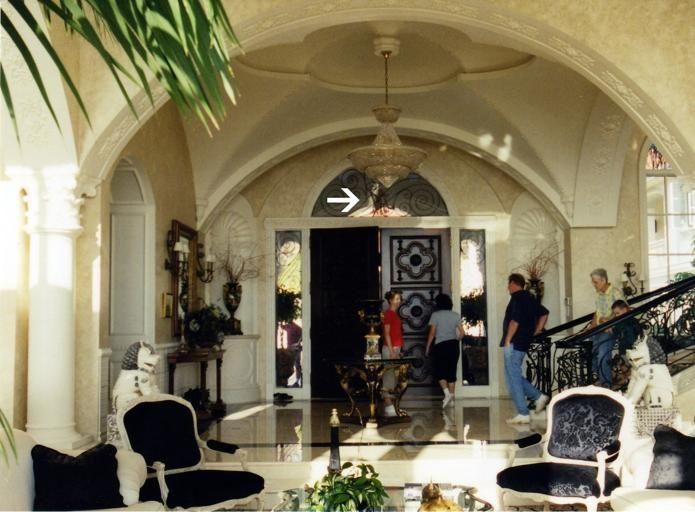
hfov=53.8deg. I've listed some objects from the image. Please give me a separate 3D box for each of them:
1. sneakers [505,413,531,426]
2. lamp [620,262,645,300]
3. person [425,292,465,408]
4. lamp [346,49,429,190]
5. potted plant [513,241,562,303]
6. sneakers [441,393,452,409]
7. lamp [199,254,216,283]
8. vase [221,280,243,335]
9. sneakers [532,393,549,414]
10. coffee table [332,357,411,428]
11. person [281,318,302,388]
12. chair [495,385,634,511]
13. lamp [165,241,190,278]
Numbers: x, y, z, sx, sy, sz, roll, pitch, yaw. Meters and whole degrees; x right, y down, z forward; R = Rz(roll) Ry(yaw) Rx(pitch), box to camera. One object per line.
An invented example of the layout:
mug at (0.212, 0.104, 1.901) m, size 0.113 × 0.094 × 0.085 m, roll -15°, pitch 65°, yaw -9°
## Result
sneakers at (2.334, 2.234, 9.396) m, size 0.339 × 0.152 × 0.127 m, roll 2°, pitch -6°, yaw 9°
lamp at (4.473, 0.407, 10.790) m, size 0.494 × 0.720 × 0.211 m, roll 3°, pitch -10°, yaw -24°
person at (1.563, 1.508, 11.109) m, size 0.586 × 1.812 × 0.878 m, roll -1°, pitch -7°, yaw 7°
lamp at (0.516, -1.484, 8.994) m, size 0.997 × 0.999 × 0.568 m, roll -1°, pitch -7°, yaw 2°
potted plant at (3.356, 0.232, 12.376) m, size 0.847 × 1.034 × 0.999 m, roll 0°, pitch -2°, yaw 19°
sneakers at (1.572, 2.257, 10.791) m, size 0.165 × 0.267 × 0.431 m, roll -2°, pitch -7°, yaw 8°
lamp at (-2.418, 0.210, 11.702) m, size 0.305 × 0.565 × 0.475 m, roll -2°, pitch -2°, yaw 5°
vase at (-2.012, 0.907, 12.083) m, size 0.347 × 0.936 × 0.336 m, roll 3°, pitch -8°, yaw -25°
sneakers at (2.686, 2.062, 9.542) m, size 0.139 × 0.185 × 0.427 m, roll -1°, pitch -24°, yaw 7°
coffee table at (0.329, 1.960, 9.838) m, size 1.087 × 0.839 × 1.122 m, roll -1°, pitch -3°, yaw 21°
person at (-1.026, 1.776, 12.283) m, size 0.414 × 1.360 × 0.313 m, roll 4°, pitch -36°, yaw -10°
chair at (1.939, 1.748, 6.156) m, size 1.189 × 1.111 × 0.654 m, roll -4°, pitch -8°, yaw 23°
lamp at (-2.514, 0.049, 10.008) m, size 0.153 × 0.351 × 0.511 m, roll -2°, pitch -4°, yaw 3°
